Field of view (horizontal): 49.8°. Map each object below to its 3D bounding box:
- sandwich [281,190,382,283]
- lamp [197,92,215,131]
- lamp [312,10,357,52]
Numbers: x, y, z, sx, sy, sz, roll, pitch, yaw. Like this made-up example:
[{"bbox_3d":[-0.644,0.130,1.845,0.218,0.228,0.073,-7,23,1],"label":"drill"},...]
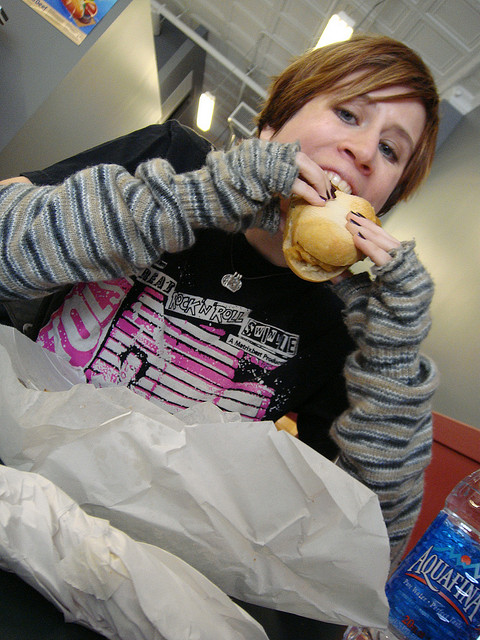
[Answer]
[{"bbox_3d":[0.118,-0.124,0.798,0.126,0.160,0.063,42,-28,-11],"label":"sandwich"},{"bbox_3d":[-0.274,-1.650,4.081,0.137,0.270,0.504,19,19,-11],"label":"lamp"},{"bbox_3d":[0.454,-1.344,2.376,0.126,0.175,0.279,21,19,-2],"label":"lamp"}]
